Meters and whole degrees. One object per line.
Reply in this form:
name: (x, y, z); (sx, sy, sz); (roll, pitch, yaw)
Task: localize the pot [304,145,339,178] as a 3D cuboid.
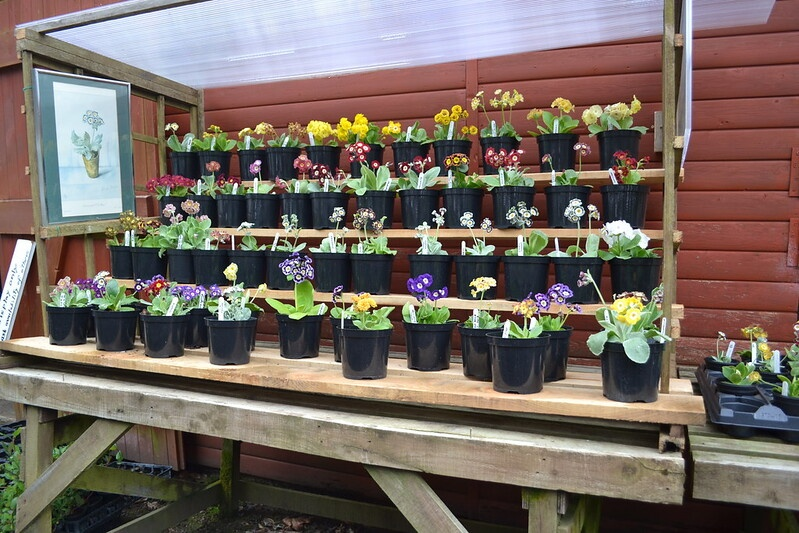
pot: (-0.484, -0.641, 3.928); (0.188, 0.133, 0.183); (-1, 3, 0)

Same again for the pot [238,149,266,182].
pot: (-0.958, -0.639, 4.071); (0.198, 0.151, 0.184); (0, 0, 0)

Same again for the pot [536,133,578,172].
pot: (0.896, -0.635, 3.636); (0.237, 0.170, 0.226); (-1, 1, 0)

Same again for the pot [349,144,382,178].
pot: (-0.223, -0.615, 3.823); (0.205, 0.147, 0.204); (0, -2, 0)

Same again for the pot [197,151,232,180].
pot: (-1.223, -0.658, 4.211); (0.193, 0.140, 0.189); (1, 6, 0)

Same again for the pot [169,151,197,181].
pot: (-1.450, -0.657, 4.273); (0.195, 0.143, 0.192); (-1, 2, 0)

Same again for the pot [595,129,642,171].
pot: (1.212, -0.643, 3.522); (0.228, 0.214, 0.196); (-1, 4, 18)

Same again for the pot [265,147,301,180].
pot: (-0.746, -0.625, 4.022); (0.213, 0.157, 0.213); (0, 0, 0)

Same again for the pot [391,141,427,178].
pot: (0.063, -0.639, 3.857); (0.209, 0.154, 0.205); (0, 1, 0)

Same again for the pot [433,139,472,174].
pot: (0.307, -0.637, 3.792); (0.208, 0.155, 0.208); (0, 6, 0)

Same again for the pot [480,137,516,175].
pot: (0.566, -0.629, 3.743); (0.215, 0.184, 0.217); (0, -2, 0)
